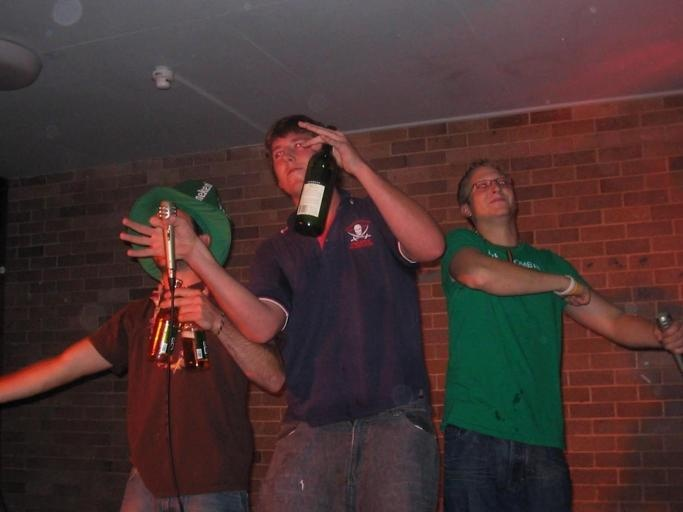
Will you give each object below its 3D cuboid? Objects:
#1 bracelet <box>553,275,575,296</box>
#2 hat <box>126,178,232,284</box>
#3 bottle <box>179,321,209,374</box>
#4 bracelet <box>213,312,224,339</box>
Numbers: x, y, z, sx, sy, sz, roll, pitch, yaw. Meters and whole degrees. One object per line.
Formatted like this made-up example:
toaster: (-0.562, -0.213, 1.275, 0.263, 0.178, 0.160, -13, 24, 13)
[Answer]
bracelet: (1.354, 0.190, 3.936, 0.052, 0.100, 0.119, 18, -22, -16)
hat: (-1.080, -0.199, 4.556, 0.723, 0.815, 0.351, 0, -4, -3)
bottle: (-0.834, 0.496, 3.624, 0.178, 0.253, 0.180, -7, -6, -1)
bracelet: (-0.691, 0.395, 3.622, 0.025, 0.097, 0.097, 12, 29, 8)
